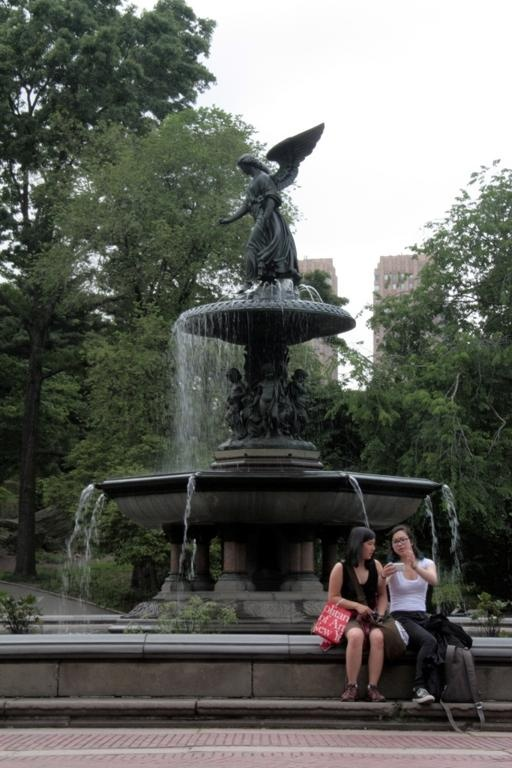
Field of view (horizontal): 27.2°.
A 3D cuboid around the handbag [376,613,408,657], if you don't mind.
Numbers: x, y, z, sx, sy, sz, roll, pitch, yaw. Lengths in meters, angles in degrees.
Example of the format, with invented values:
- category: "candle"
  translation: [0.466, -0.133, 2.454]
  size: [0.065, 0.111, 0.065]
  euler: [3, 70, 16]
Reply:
- category: "handbag"
  translation: [0.961, 1.784, 7.436]
  size: [0.205, 0.260, 0.115]
  euler: [4, -16, -23]

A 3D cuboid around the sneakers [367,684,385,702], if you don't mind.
- category: "sneakers"
  translation: [0.830, 2.140, 7.322]
  size: [0.119, 0.107, 0.262]
  euler: [1, -8, 6]

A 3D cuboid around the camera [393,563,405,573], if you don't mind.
- category: "camera"
  translation: [1.050, 1.347, 7.732]
  size: [0.105, 0.071, 0.059]
  euler: [-1, -14, 2]

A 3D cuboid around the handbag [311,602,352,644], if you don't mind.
- category: "handbag"
  translation: [0.544, 1.701, 7.470]
  size: [0.235, 0.297, 0.091]
  euler: [25, -2, 21]

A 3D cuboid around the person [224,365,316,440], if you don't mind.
- category: "person"
  translation: [0.136, 0.256, 13.404]
  size: [1.029, 1.008, 0.777]
  euler: [1, -8, 0]

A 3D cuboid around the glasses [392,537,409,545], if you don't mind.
- category: "glasses"
  translation: [1.074, 1.175, 7.839]
  size: [0.062, 0.019, 0.062]
  euler: [-8, -48, 16]

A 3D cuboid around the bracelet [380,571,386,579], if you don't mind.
- category: "bracelet"
  translation: [0.926, 1.399, 7.706]
  size: [0.014, 0.039, 0.036]
  euler: [-25, -13, 33]

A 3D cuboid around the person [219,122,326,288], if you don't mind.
- category: "person"
  translation: [0.216, -2.288, 13.954]
  size: [1.130, 2.240, 1.119]
  euler: [2, -8, -1]

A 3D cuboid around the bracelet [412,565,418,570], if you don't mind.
- category: "bracelet"
  translation: [1.181, 1.351, 7.791]
  size: [0.032, 0.039, 0.042]
  euler: [-9, -1, 12]

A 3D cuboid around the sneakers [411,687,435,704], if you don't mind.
- category: "sneakers"
  translation: [1.143, 2.120, 7.169]
  size: [0.143, 0.111, 0.125]
  euler: [0, -9, 8]
